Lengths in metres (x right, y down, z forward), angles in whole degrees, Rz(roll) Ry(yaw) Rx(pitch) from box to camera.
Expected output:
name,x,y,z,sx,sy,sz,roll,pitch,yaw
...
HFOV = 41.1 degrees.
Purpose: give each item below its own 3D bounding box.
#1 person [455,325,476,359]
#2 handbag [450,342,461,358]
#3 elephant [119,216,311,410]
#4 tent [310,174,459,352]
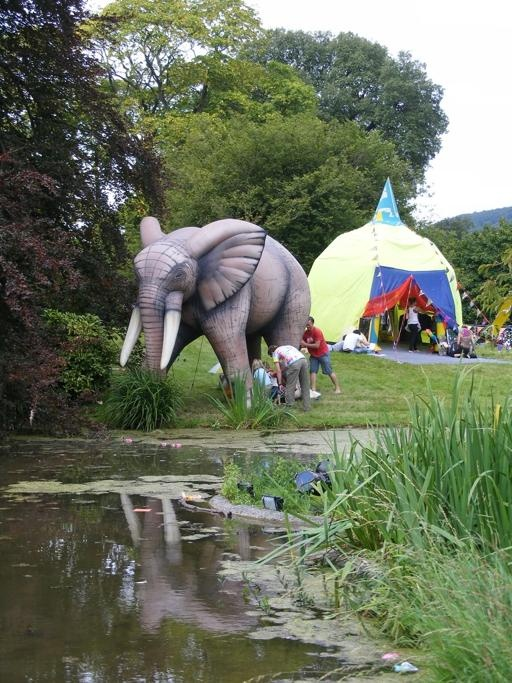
name,x,y,z,sx,sy,sz,roll,pitch,yaw
person,7.452,0.015,24.437,0.844,1.221,0.429,-4,-28,20
handbag,7.101,0.292,24.400,0.339,0.484,0.482,-1,37,0
elephant,-1.130,-0.694,14.243,2.828,3.271,4.405,-1,-5,44
tent,5.157,-3.383,28.262,7.663,6.381,7.481,3,8,6
